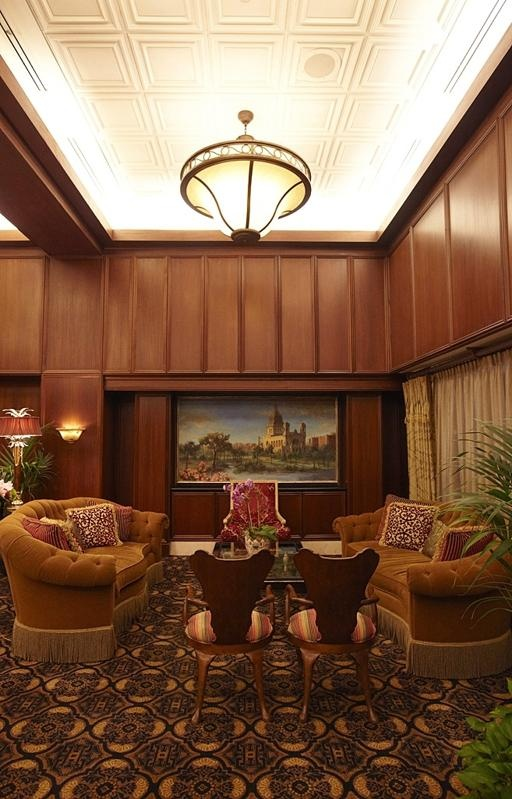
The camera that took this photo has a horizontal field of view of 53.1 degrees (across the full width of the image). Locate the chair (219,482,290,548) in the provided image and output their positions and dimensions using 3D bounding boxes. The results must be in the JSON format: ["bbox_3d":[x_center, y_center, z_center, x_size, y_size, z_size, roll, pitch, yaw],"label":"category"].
[{"bbox_3d":[-0.024,1.549,6.366,0.840,1.083,0.816,-2,-5,21],"label":"chair"}]

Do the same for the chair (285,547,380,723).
[{"bbox_3d":[0.470,1.332,3.154,0.539,1.073,0.689,-1,4,3],"label":"chair"}]

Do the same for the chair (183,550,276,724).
[{"bbox_3d":[-0.143,1.317,3.094,0.575,1.016,0.710,0,2,-22],"label":"chair"}]

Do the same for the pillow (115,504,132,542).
[{"bbox_3d":[-1.384,1.297,5.320,0.117,0.284,0.321,-5,0,5],"label":"pillow"}]

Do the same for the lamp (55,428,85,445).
[{"bbox_3d":[-2.533,0.485,6.936,0.360,0.233,0.195,0,-5,-3],"label":"lamp"}]

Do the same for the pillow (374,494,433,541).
[{"bbox_3d":[1.474,1.194,4.928,0.125,0.434,0.422,26,-17,-34],"label":"pillow"}]

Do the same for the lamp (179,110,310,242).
[{"bbox_3d":[-0.091,-1.662,4.156,0.935,1.064,1.061,1,-14,-3],"label":"lamp"}]

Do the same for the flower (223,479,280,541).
[{"bbox_3d":[-0.051,1.385,6.462,0.674,1.043,0.691,0,-10,-3],"label":"flower"}]
